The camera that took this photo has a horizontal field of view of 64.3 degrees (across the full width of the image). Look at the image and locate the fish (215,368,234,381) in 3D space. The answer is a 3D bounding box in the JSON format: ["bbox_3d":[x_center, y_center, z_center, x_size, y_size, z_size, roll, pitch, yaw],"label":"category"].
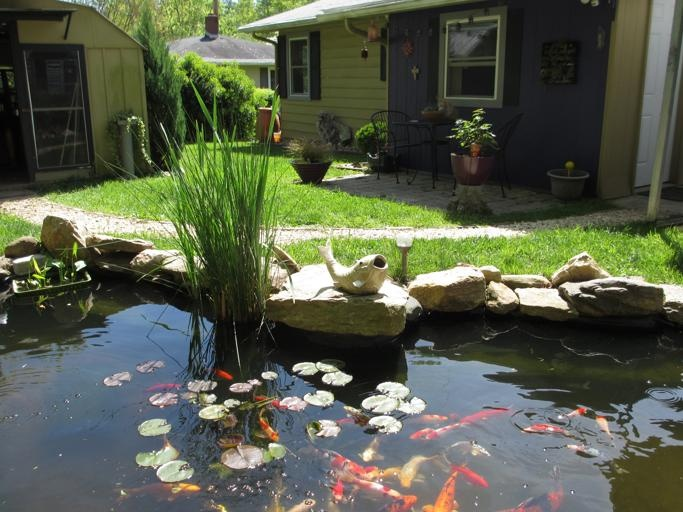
[{"bbox_3d":[-0.771,0.767,3.558,0.188,0.024,0.087,15,22,42],"label":"fish"}]

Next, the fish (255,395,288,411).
[{"bbox_3d":[-0.420,0.870,3.260,0.218,0.028,0.118,2,16,7],"label":"fish"}]

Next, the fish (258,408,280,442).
[{"bbox_3d":[-0.416,0.950,3.077,0.084,0.062,0.201,-22,46,-26],"label":"fish"}]

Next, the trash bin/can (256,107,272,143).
[{"bbox_3d":[-1.920,-3.329,13.411,0.451,0.770,0.463,9,28,-2],"label":"trash bin/can"}]

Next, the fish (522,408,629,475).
[{"bbox_3d":[1.316,1.015,3.023,0.287,0.046,0.293,13,24,35],"label":"fish"}]

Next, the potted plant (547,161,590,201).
[{"bbox_3d":[2.942,-1.014,7.110,0.485,0.513,0.512,-8,21,-17],"label":"potted plant"}]

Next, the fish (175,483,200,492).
[{"bbox_3d":[-0.758,1.141,2.705,0.081,0.030,0.041,9,-5,1],"label":"fish"}]

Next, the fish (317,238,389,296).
[{"bbox_3d":[0.081,0.093,4.068,0.337,0.348,0.658,-6,13,-43],"label":"fish"}]

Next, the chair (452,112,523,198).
[{"bbox_3d":[2.131,-1.462,7.686,1.169,1.067,1.207,-1,5,16],"label":"chair"}]

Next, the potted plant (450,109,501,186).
[{"bbox_3d":[1.632,-1.323,6.711,0.603,0.887,0.508,10,17,27],"label":"potted plant"}]

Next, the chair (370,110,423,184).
[{"bbox_3d":[0.984,-2.165,9.793,0.672,1.016,0.625,-12,8,2],"label":"chair"}]

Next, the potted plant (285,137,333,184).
[{"bbox_3d":[-0.457,-1.547,8.360,0.697,0.771,0.718,-1,18,-8],"label":"potted plant"}]
